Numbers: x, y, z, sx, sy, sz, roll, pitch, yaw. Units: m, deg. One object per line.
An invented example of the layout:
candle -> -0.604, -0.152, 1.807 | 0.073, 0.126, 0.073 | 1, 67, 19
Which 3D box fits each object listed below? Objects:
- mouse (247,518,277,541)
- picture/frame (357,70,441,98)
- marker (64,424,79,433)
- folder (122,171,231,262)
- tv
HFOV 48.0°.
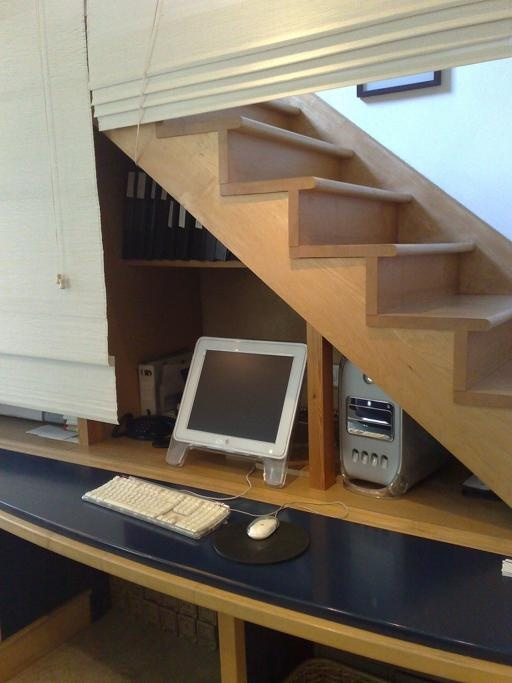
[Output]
mouse -> 0.018, 0.387, 1.194 | 0.072, 0.028, 0.045 | -7, 10, -23
picture/frame -> 0.585, -1.051, 2.358 | 0.342, 0.080, 0.070 | -1, 10, 10
marker -> -0.633, 0.291, 1.958 | 0.038, 0.011, 0.029 | 5, 17, 39
folder -> -0.257, -0.393, 1.771 | 0.391, 0.298, 0.053 | 2, 11, 27
tv -> -0.032, 0.162, 1.552 | 0.342, 0.316, 0.079 | 7, -8, 33
